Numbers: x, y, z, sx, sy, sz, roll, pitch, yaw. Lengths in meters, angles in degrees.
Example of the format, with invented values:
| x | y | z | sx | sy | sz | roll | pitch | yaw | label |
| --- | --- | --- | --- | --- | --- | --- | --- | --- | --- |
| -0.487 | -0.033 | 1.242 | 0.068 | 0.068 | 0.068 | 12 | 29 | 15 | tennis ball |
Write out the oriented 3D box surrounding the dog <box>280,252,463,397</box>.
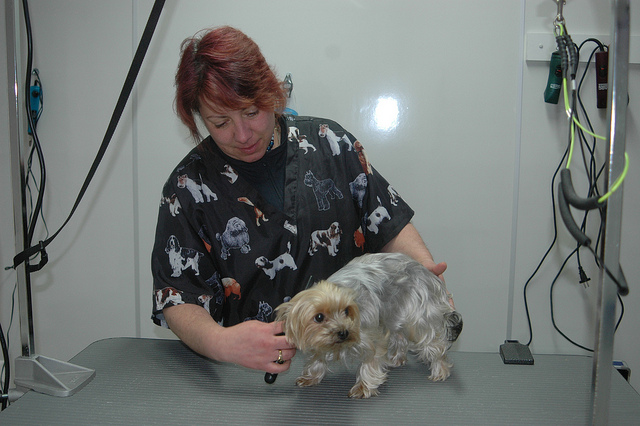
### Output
| x | y | z | sx | sy | sz | roll | pitch | yaw | label |
| --- | --- | --- | --- | --- | --- | --- | --- | --- | --- |
| 0.196 | 0.370 | 1.927 | 0.666 | 0.452 | 0.378 | -6 | 9 | -30 | dog |

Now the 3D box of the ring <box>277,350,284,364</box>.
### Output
| x | y | z | sx | sy | sz | roll | pitch | yaw | label |
| --- | --- | --- | --- | --- | --- | --- | --- | --- | --- |
| -0.130 | 0.468 | 1.825 | 0.023 | 0.039 | 0.038 | 2 | -3 | 11 | ring |
